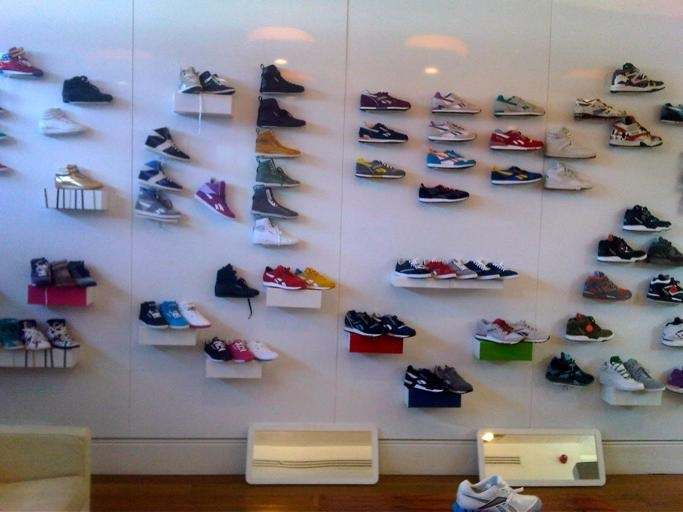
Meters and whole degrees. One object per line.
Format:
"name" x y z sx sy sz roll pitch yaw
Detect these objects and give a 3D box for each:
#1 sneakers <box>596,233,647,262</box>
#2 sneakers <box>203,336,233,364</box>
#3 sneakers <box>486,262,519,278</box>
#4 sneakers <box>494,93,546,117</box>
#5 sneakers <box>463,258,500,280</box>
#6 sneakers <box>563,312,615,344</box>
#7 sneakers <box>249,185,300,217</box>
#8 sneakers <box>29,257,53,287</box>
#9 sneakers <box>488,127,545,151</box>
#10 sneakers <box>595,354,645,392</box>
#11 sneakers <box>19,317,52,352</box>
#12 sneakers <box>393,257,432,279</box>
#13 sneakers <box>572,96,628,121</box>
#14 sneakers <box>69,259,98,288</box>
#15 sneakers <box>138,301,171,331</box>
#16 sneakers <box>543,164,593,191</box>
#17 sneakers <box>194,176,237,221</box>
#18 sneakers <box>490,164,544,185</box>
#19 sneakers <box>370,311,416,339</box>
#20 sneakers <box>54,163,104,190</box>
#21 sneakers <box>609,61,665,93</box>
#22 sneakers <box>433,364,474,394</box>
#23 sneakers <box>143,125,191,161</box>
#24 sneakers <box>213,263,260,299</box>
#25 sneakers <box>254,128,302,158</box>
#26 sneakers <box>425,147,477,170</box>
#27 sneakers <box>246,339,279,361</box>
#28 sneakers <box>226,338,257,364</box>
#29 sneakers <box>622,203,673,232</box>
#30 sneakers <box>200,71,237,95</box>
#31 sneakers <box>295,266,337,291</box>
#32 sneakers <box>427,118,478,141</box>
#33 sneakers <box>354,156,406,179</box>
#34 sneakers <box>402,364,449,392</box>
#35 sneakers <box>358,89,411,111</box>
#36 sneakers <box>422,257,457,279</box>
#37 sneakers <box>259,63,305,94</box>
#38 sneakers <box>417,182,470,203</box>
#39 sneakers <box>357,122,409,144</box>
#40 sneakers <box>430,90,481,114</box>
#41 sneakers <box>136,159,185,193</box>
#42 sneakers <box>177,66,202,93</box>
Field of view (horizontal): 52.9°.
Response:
"sneakers" 2.154 -0.067 5.461 0.474 0.260 0.172 2 -7 -2
"sneakers" -0.953 0.714 5.286 0.184 0.162 0.244 -1 6 -24
"sneakers" 1.266 0.113 5.364 0.276 0.111 0.103 9 9 2
"sneakers" 1.357 -1.164 5.364 0.431 0.187 0.158 2 -4 -2
"sneakers" 1.103 0.102 5.353 0.304 0.122 0.102 18 15 18
"sneakers" 2.030 0.565 5.476 0.444 0.245 0.174 3 -15 -3
"sneakers" -0.516 -0.429 5.311 0.347 0.231 0.085 1 6 -4
"sneakers" -2.253 0.114 5.116 0.144 0.195 0.070 1 -8 0
"sneakers" 1.351 -0.898 5.386 0.486 0.209 0.163 1 -3 -2
"sneakers" 2.225 0.928 5.454 0.152 0.242 0.405 8 -1 -30
"sneakers" -2.253 0.596 5.159 0.342 0.191 0.126 1 -1 23
"sneakers" 0.552 0.098 5.290 0.281 0.104 0.128 2 0 15
"sneakers" 2.018 -1.158 5.419 0.468 0.201 0.165 2 7 -2
"sneakers" -1.984 0.135 5.204 0.169 0.196 0.071 -7 -10 -17
"sneakers" -1.433 0.447 5.233 0.215 0.184 0.151 7 8 44
"sneakers" 1.836 -0.625 5.412 0.433 0.234 0.166 2 4 -3
"sneakers" -0.974 -0.434 5.313 0.308 0.292 0.118 1 6 -10
"sneakers" 1.351 -0.628 5.395 0.449 0.181 0.153 0 -2 0
"sneakers" 0.417 0.527 5.331 0.384 0.160 0.140 26 1 5
"sneakers" -1.992 -0.609 5.202 0.305 0.142 0.186 3 11 -4
"sneakers" 2.395 -1.409 5.468 0.532 0.280 0.182 1 0 -4
"sneakers" 0.873 0.960 5.344 0.371 0.147 0.143 32 11 20
"sneakers" -1.273 -0.849 5.249 0.432 0.255 0.159 16 10 -16
"sneakers" -0.811 0.198 5.315 0.333 0.266 0.164 1 6 -7
"sneakers" -0.459 -0.863 5.263 0.437 0.256 0.156 1 -3 -9
"sneakers" 0.838 -0.752 5.376 0.418 0.180 0.153 1 -3 -2
"sneakers" -0.623 0.724 5.341 0.291 0.106 0.116 20 5 18
"sneakers" -0.769 0.724 5.251 0.111 0.108 0.268 -3 10 -42
"sneakers" 2.409 -0.312 5.468 0.453 0.225 0.163 1 -4 -2
"sneakers" -0.923 -1.302 5.203 0.332 0.142 0.132 19 48 15
"sneakers" -0.201 0.180 5.284 0.382 0.164 0.136 17 5 0
"sneakers" 0.834 -0.965 5.289 0.417 0.180 0.147 1 0 0
"sneakers" 0.276 -0.682 5.327 0.440 0.176 0.148 1 0 -3
"sneakers" 0.649 0.939 5.356 0.357 0.153 0.140 9 1 15
"sneakers" 0.325 -1.214 5.396 0.426 0.168 0.151 0 -1 -3
"sneakers" 0.763 0.093 5.282 0.276 0.119 0.103 13 -7 15
"sneakers" -0.458 -1.360 5.283 0.335 0.235 0.116 1 6 -5
"sneakers" 0.775 -0.495 5.358 0.435 0.166 0.147 1 0 2
"sneakers" 0.311 -0.936 5.324 0.413 0.177 0.147 1 -4 -3
"sneakers" 0.859 -1.183 5.333 0.453 0.196 0.149 2 1 -3
"sneakers" -1.331 -0.608 5.242 0.416 0.239 0.157 13 4 -10
"sneakers" -1.149 -1.333 5.219 0.170 0.207 0.175 1 6 -10
